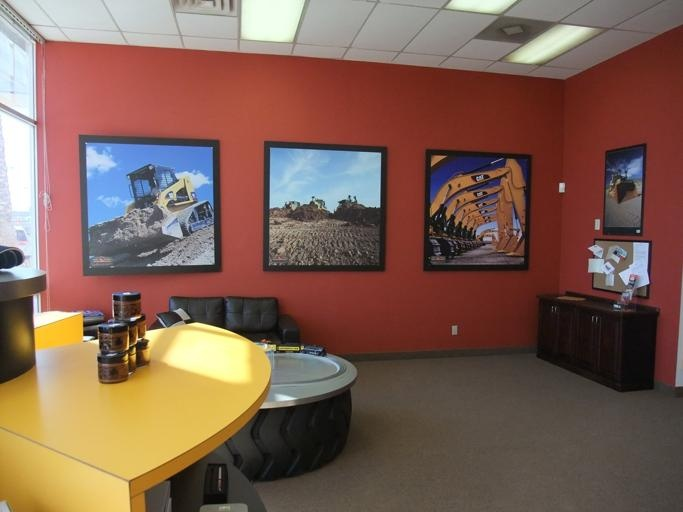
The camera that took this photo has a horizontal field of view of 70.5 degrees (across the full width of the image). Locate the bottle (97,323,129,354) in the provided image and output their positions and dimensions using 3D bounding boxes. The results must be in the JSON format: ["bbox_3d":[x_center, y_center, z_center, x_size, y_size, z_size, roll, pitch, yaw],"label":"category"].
[{"bbox_3d":[-1.000,0.353,2.153,0.126,0.113,0.129,0,5,-14],"label":"bottle"}]

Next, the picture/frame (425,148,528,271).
[{"bbox_3d":[1.665,-0.648,6.204,1.547,1.605,0.034,0,5,-9],"label":"picture/frame"}]

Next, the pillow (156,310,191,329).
[{"bbox_3d":[-1.619,0.606,4.668,0.296,0.096,0.309,11,13,-39],"label":"pillow"}]

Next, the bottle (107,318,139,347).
[{"bbox_3d":[-1.015,0.348,2.293,0.127,0.098,0.131,2,3,0],"label":"bottle"}]

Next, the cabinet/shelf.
[{"bbox_3d":[2.972,0.947,5.836,0.462,0.880,1.423,-1,4,-14],"label":"cabinet/shelf"}]

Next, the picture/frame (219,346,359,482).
[{"bbox_3d":[-0.343,1.224,3.643,0.904,0.402,0.903,-3,2,-22],"label":"picture/frame"}]

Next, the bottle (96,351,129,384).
[{"bbox_3d":[-0.971,0.463,2.053,0.120,0.120,0.126,0,-1,-27],"label":"bottle"}]

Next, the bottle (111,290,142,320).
[{"bbox_3d":[-1.098,0.246,2.453,0.133,0.128,0.127,1,-1,-4],"label":"bottle"}]
